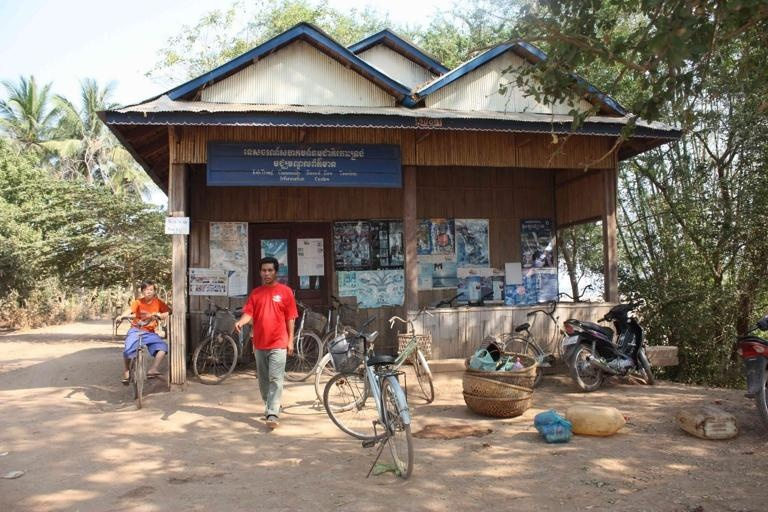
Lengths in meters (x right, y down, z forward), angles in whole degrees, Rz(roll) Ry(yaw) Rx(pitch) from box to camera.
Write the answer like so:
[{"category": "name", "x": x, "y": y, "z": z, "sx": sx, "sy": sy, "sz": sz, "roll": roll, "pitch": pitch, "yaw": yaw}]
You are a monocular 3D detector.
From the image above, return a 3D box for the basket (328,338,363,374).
[{"category": "basket", "x": -0.648, "y": 1.889, "z": 12.257, "sx": 0.720, "sy": 0.694, "sz": 0.629, "roll": 10, "pitch": -23, "yaw": -44}]

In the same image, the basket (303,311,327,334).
[{"category": "basket", "x": -1.504, "y": 1.433, "z": 14.567, "sx": 0.399, "sy": 0.312, "sz": 0.449, "roll": 14, "pitch": -17, "yaw": -42}]

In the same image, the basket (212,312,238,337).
[{"category": "basket", "x": -3.380, "y": 1.387, "z": 14.208, "sx": 0.457, "sy": 0.482, "sz": 0.452, "roll": 5, "pitch": 5, "yaw": 1}]

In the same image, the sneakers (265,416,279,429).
[{"category": "sneakers", "x": -1.893, "y": 2.806, "z": 11.442, "sx": 0.264, "sy": 0.236, "sz": 0.191, "roll": 5, "pitch": -5, "yaw": -37}]

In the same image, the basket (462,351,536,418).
[{"category": "basket", "x": 2.044, "y": 2.230, "z": 11.672, "sx": 0.964, "sy": 0.748, "sz": 1.061, "roll": 2, "pitch": -7, "yaw": -14}]

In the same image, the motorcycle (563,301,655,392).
[{"category": "motorcycle", "x": 4.669, "y": 1.791, "z": 13.480, "sx": 2.701, "sy": 1.686, "sz": 1.040, "roll": 3, "pitch": -13, "yaw": -33}]

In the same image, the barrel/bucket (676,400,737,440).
[{"category": "barrel/bucket", "x": 5.301, "y": 2.633, "z": 10.926, "sx": 0.643, "sy": 0.342, "sz": 0.519, "roll": 6, "pitch": 0, "yaw": 8}]

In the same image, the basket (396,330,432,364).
[{"category": "basket", "x": 0.642, "y": 1.794, "z": 13.445, "sx": 0.638, "sy": 0.560, "sz": 0.728, "roll": 0, "pitch": -8, "yaw": -3}]

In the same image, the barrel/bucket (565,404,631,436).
[{"category": "barrel/bucket", "x": 3.525, "y": 2.682, "z": 11.023, "sx": 0.647, "sy": 0.299, "sz": 0.518, "roll": -3, "pitch": -4, "yaw": 19}]

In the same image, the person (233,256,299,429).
[{"category": "person", "x": -1.989, "y": 1.477, "z": 11.611, "sx": 0.738, "sy": 2.887, "sz": 0.487, "roll": 1, "pitch": -4, "yaw": 20}]
